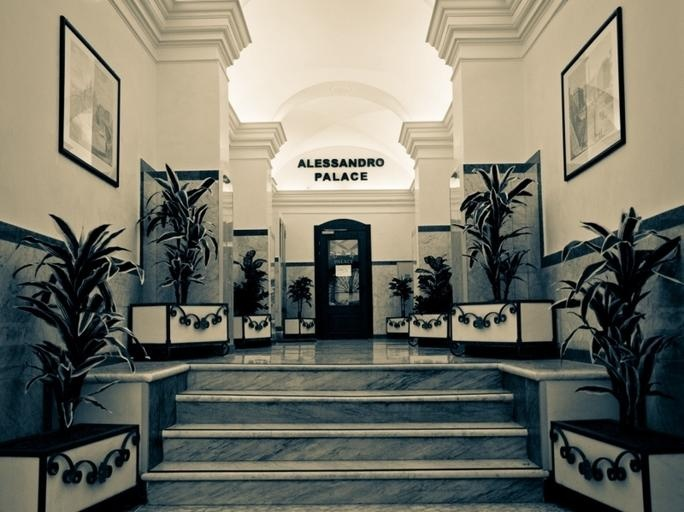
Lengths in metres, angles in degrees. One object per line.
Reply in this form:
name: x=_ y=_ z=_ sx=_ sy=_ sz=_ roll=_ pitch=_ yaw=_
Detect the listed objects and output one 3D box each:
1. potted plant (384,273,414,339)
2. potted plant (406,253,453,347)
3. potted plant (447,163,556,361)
potted plant: x=1.156 y=0.958 z=11.976 sx=0.550 sy=1.074 sz=0.640 roll=-5 pitch=-2 yaw=0
potted plant: x=1.116 y=0.574 z=7.651 sx=0.493 sy=1.349 sz=0.783 roll=1 pitch=-22 yaw=16
potted plant: x=1.414 y=0.046 z=5.578 sx=0.714 sy=1.616 sz=0.658 roll=-5 pitch=-14 yaw=44
